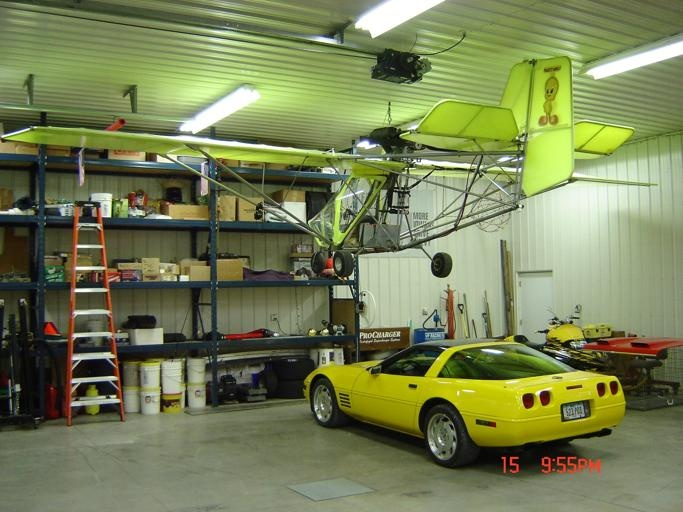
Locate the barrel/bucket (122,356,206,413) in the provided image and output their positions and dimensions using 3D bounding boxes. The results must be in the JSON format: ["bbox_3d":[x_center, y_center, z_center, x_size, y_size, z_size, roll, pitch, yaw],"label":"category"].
[{"bbox_3d":[-3.318,2.312,11.322,2.309,1.030,1.022,1,1,-11],"label":"barrel/bucket"}]

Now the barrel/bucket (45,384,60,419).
[{"bbox_3d":[-5.079,2.554,10.568,0.214,0.559,0.341,-2,-2,-24],"label":"barrel/bucket"}]

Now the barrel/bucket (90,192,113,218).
[{"bbox_3d":[-4.307,-0.951,11.134,0.582,0.403,0.483,0,-2,-16],"label":"barrel/bucket"}]

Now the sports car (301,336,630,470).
[{"bbox_3d":[1.319,1.782,8.077,1.926,0.749,3.183,2,0,-36],"label":"sports car"}]

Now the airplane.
[{"bbox_3d":[1.274,-1.511,10.145,8.645,1.811,5.152,-1,5,-23],"label":"airplane"}]

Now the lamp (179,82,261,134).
[{"bbox_3d":[-2.249,-2.875,11.388,0.409,0.136,2.274,27,-21,-31],"label":"lamp"}]
